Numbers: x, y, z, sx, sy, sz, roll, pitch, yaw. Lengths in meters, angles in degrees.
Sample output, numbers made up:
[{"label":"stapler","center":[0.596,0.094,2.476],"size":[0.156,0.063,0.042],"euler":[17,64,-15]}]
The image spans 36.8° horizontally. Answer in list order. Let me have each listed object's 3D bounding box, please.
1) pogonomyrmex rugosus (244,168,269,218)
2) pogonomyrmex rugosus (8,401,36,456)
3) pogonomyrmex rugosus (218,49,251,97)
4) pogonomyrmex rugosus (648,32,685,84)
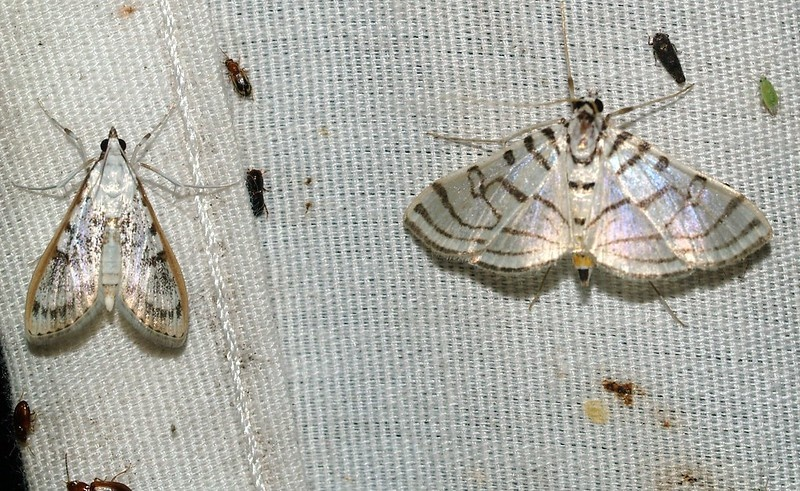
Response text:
[{"label":"pogonomyrmex rugosus","center":[-0.678,-0.257,5.752],"size":[0.154,0.192,0.060],"euler":[-6,0,-23]},{"label":"pogonomyrmex rugosus","center":[-1.755,0.832,5.642],"size":[0.126,0.208,0.043],"euler":[-11,3,-28]},{"label":"pogonomyrmex rugosus","center":[-0.770,-0.809,5.680],"size":[0.149,0.195,0.057],"euler":[-25,18,-7]},{"label":"pogonomyrmex rugosus","center":[1.280,-0.921,5.758],"size":[0.130,0.057,0.240],"euler":[-23,-38,12]}]
